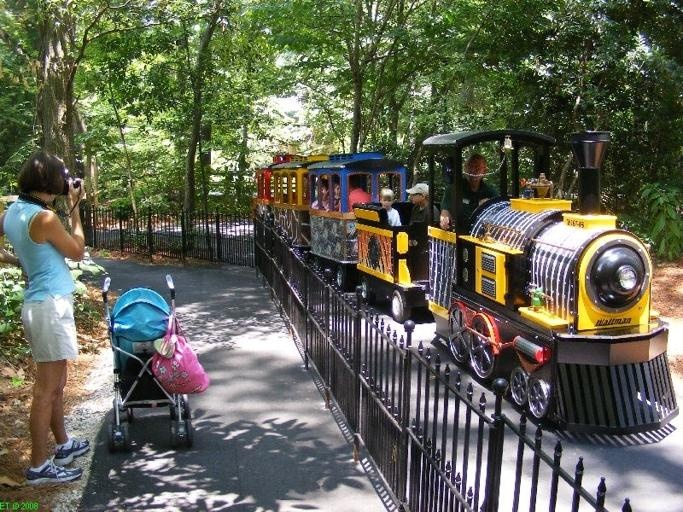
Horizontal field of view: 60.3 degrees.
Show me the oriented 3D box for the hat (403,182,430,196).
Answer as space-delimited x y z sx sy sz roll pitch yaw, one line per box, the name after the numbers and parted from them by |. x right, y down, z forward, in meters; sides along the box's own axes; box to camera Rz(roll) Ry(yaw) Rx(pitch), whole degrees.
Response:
1.475 -1.270 11.247 0.403 0.187 0.269 0 8 13 | hat

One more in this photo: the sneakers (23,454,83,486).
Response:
-2.875 2.152 5.948 0.529 0.269 0.231 1 -1 -14 | sneakers

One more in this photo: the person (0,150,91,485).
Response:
-2.893 0.647 5.884 0.745 3.338 0.708 -4 10 -24 | person

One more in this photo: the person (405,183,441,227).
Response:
1.554 -0.887 11.318 0.604 0.989 0.949 -3 7 -21 | person

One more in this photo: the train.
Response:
0.634 -0.504 12.906 3.171 3.926 13.615 -2 8 -14 | train

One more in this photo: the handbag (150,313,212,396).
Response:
-1.872 1.121 6.702 0.637 0.851 0.401 -2 5 25 | handbag
